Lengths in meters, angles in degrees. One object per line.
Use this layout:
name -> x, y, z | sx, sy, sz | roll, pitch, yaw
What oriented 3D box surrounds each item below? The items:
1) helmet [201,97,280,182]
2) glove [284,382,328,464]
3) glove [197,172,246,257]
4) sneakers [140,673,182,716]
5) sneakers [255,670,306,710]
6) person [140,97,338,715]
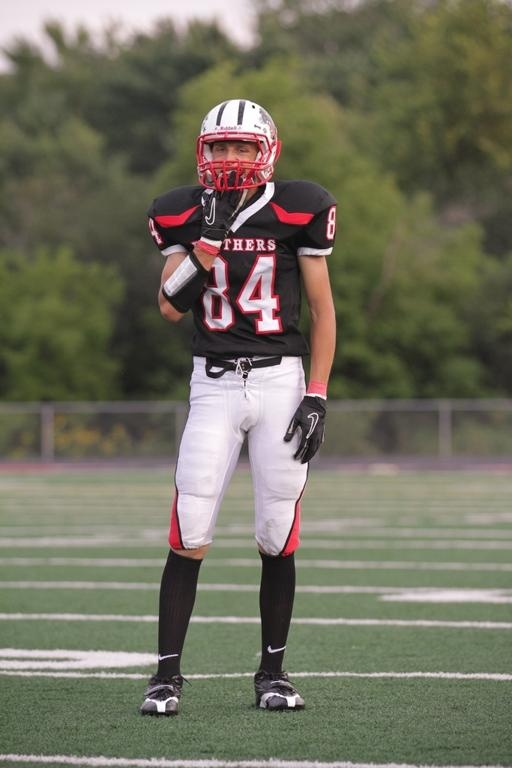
helmet -> -0.053, -0.662, 3.015 | 0.227, 0.183, 0.274 | 3, 16, 14
glove -> 0.134, 0.117, 2.941 | 0.135, 0.163, 0.068 | 11, -1, -10
glove -> -0.090, -0.433, 2.943 | 0.129, 0.211, 0.214 | 0, 0, 0
sneakers -> -0.249, 0.814, 2.886 | 0.108, 0.084, 0.121 | 0, 0, -5
sneakers -> 0.051, 0.819, 2.942 | 0.115, 0.079, 0.146 | 0, 0, -22
person -> -0.041, 0.049, 2.962 | 0.510, 1.620, 0.281 | 0, 0, 2
